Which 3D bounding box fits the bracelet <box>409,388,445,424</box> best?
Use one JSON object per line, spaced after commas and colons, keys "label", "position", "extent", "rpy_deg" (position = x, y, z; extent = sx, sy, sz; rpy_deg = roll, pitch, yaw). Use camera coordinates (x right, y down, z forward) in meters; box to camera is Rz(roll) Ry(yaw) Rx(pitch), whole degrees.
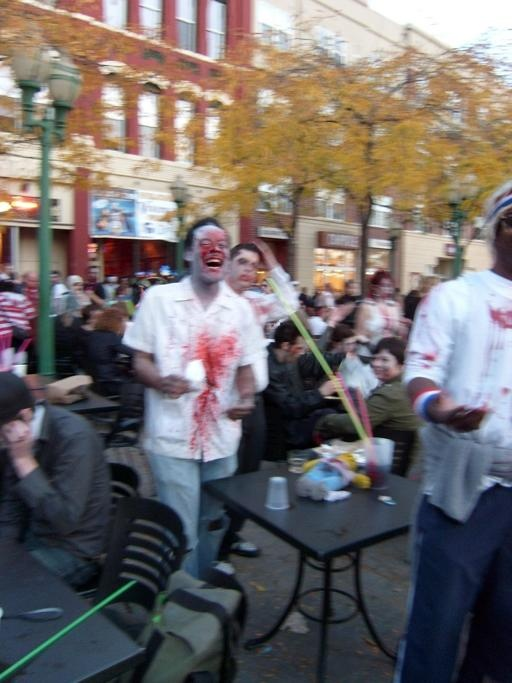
{"label": "bracelet", "position": [0.435, 0.164, 1.579], "extent": [0.085, 0.051, 0.075], "rpy_deg": [0, 7, 3]}

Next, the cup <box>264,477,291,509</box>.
{"label": "cup", "position": [0.091, 0.597, 2.482], "extent": [0.116, 0.104, 0.109], "rpy_deg": [4, 4, 0]}

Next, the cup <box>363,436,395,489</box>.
{"label": "cup", "position": [0.563, 0.539, 2.824], "extent": [0.142, 0.186, 0.129], "rpy_deg": [4, -11, 1]}

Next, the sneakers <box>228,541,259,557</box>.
{"label": "sneakers", "position": [-0.068, 1.288, 3.911], "extent": [0.133, 0.039, 0.093], "rpy_deg": [6, 0, 32]}

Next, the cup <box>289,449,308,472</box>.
{"label": "cup", "position": [0.206, 0.588, 3.070], "extent": [0.076, 0.072, 0.087], "rpy_deg": [0, -6, 41]}
